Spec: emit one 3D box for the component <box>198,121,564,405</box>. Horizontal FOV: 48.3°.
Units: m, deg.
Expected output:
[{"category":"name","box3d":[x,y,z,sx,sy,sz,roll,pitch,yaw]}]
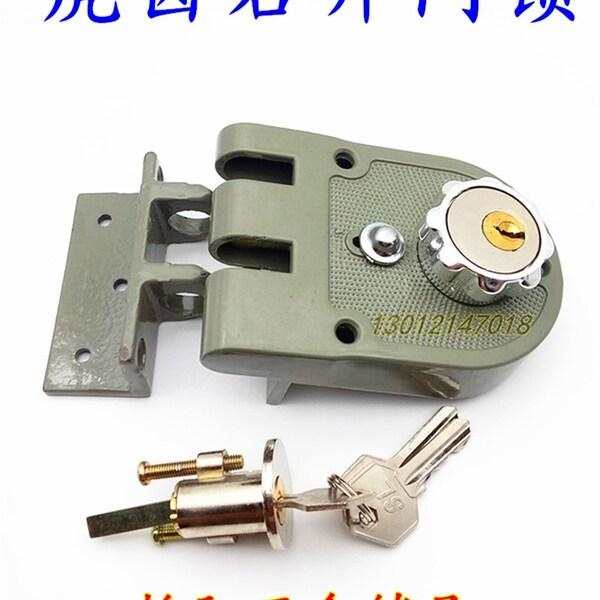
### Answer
[{"category":"component","box3d":[0.009,-0.059,1.599,1.184,0.421,0.517,2,64,-4]}]
